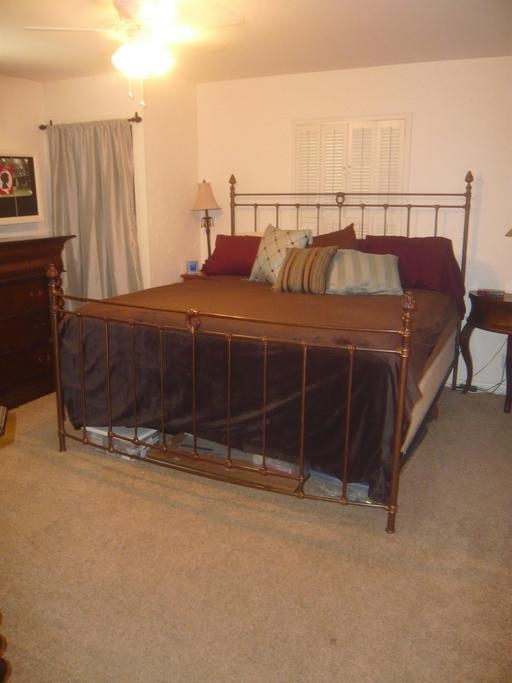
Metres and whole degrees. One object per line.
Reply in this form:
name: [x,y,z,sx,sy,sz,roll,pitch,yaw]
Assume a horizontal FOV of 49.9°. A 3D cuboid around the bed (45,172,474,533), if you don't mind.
bed: [0.276,-0.042,3.015,1.701,1.379,2.153,7,18,24]
